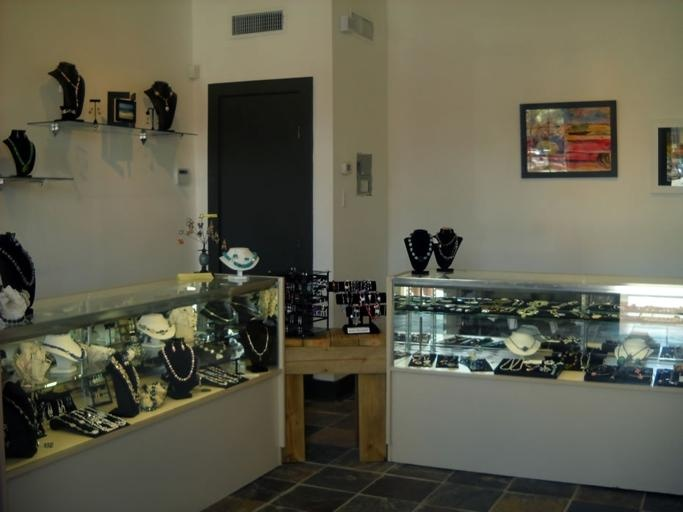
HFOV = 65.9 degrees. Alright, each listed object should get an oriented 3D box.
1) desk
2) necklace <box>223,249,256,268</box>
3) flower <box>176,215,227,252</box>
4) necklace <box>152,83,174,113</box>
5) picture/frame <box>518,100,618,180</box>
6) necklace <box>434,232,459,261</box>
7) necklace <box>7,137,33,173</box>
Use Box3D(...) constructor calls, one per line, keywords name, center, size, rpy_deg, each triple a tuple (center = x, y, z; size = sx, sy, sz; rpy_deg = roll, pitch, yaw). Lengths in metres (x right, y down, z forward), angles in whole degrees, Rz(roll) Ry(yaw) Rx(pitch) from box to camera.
Box3D(name="desk", center=(-0.010, 0.999, 4.077), size=(0.875, 0.932, 0.797), rpy_deg=(0, -2, 2))
Box3D(name="necklace", center=(-0.711, 0.023, 3.726), size=(0.202, 0.109, 0.141), rpy_deg=(2, 3, -7))
Box3D(name="flower", center=(-1.410, -0.224, 5.337), size=(0.480, 0.430, 0.491), rpy_deg=(1, 7, 5))
Box3D(name="necklace", center=(-1.707, -1.510, 5.044), size=(0.153, 0.260, 0.267), rpy_deg=(-2, 9, 30))
Box3D(name="picture/frame", center=(2.387, -1.227, 5.478), size=(0.842, 0.720, 0.037), rpy_deg=(0, 1, 12))
Box3D(name="necklace", center=(0.828, -0.080, 4.260), size=(0.187, 0.215, 0.051), rpy_deg=(1, -12, -5))
Box3D(name="necklace", center=(-2.434, -0.770, 3.999), size=(0.137, 0.261, 0.215), rpy_deg=(10, 16, 25))
